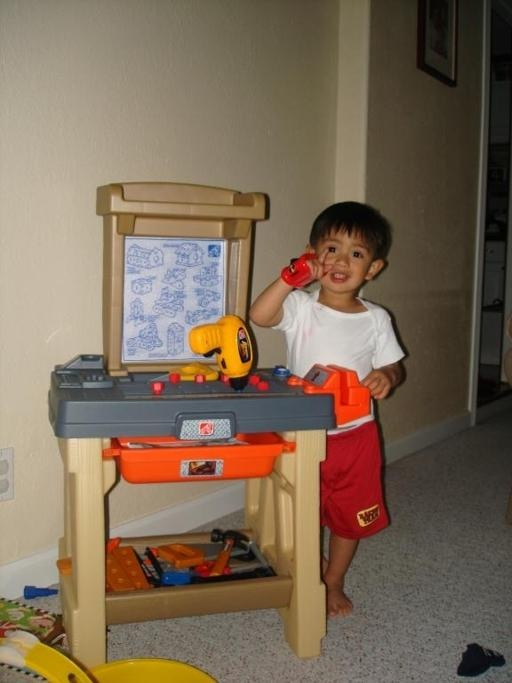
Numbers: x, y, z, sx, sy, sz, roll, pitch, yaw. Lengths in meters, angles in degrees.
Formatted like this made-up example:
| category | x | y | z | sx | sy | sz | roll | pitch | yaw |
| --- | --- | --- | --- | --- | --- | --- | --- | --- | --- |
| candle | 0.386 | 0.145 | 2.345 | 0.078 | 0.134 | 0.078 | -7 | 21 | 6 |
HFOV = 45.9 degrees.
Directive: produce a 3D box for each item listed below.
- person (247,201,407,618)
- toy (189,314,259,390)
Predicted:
| category | x | y | z | sx | sy | sz | roll | pitch | yaw |
| --- | --- | --- | --- | --- | --- | --- | --- | --- | --- |
| person | 0.136 | 0.115 | 1.186 | 0.322 | 0.770 | 0.319 | 3 | 9 | -5 |
| toy | -0.049 | 0.016 | 0.934 | 0.083 | 0.108 | 0.169 | 4 | 8 | 4 |
